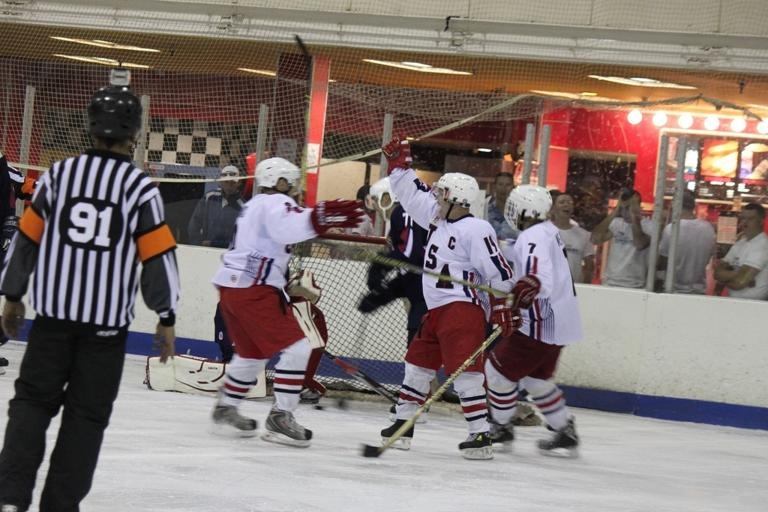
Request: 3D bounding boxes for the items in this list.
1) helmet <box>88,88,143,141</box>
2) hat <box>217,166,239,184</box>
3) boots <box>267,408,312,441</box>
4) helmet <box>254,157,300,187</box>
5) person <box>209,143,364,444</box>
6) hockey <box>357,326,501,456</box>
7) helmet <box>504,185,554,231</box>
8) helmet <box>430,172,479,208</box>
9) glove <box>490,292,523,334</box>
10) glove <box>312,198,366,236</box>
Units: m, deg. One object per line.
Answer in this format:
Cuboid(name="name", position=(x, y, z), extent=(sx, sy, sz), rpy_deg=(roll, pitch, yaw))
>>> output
Cuboid(name="helmet", position=(-1.446, -0.708, 4.251), extent=(0.313, 0.322, 0.381), rpy_deg=(4, 7, -24))
Cuboid(name="hat", position=(-1.507, -0.797, 7.910), extent=(0.162, 0.184, 0.104), rpy_deg=(3, -8, -1))
Cuboid(name="boots", position=(-0.628, 1.144, 5.512), extent=(0.396, 0.162, 0.133), rpy_deg=(10, 3, 31))
Cuboid(name="helmet", position=(-0.748, -0.578, 5.693), extent=(0.292, 0.164, 0.191), rpy_deg=(6, 2, -7))
Cuboid(name="person", position=(-0.737, 0.416, 5.538), extent=(0.936, 1.666, 0.276), rpy_deg=(7, 5, 17))
Cuboid(name="hockey", position=(0.359, 1.012, 5.938), extent=(0.149, 1.234, 0.171), rpy_deg=(54, 8, 28))
Cuboid(name="helmet", position=(1.077, -0.357, 5.823), extent=(0.386, 0.294, 0.307), rpy_deg=(14, 19, 35))
Cuboid(name="helmet", position=(0.491, -0.451, 5.625), extent=(0.360, 0.239, 0.264), rpy_deg=(12, 12, -4))
Cuboid(name="glove", position=(0.813, 0.393, 5.413), extent=(0.288, 0.236, 0.204), rpy_deg=(-1, -3, 12))
Cuboid(name="glove", position=(-0.316, -0.297, 5.385), extent=(0.425, 0.134, 0.259), rpy_deg=(-5, -14, -25))
